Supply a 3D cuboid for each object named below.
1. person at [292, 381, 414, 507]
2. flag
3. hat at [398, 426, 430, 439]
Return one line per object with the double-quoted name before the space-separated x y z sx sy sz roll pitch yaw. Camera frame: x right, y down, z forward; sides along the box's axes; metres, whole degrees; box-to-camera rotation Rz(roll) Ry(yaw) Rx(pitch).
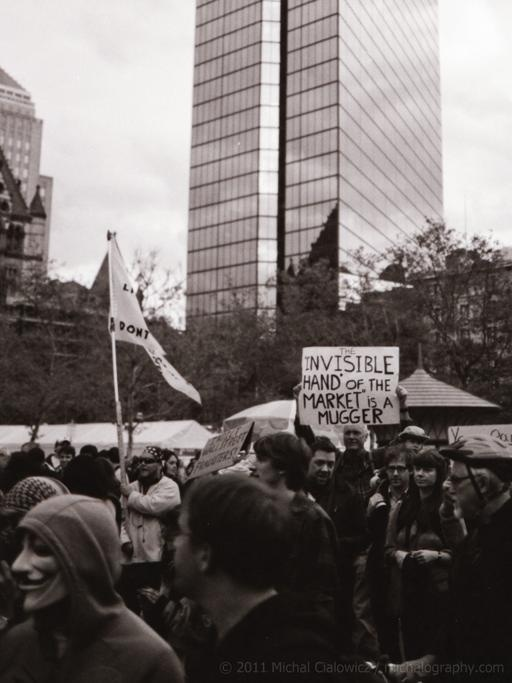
"person" 0.868 0.891 6.512 1.176 0.601 2.000 3 24 7
"flag" -1.446 -0.379 9.617 1.022 1.461 1.172 2 -1 -12
"hat" 1.568 0.876 7.047 0.258 0.116 0.248 10 -13 -11
